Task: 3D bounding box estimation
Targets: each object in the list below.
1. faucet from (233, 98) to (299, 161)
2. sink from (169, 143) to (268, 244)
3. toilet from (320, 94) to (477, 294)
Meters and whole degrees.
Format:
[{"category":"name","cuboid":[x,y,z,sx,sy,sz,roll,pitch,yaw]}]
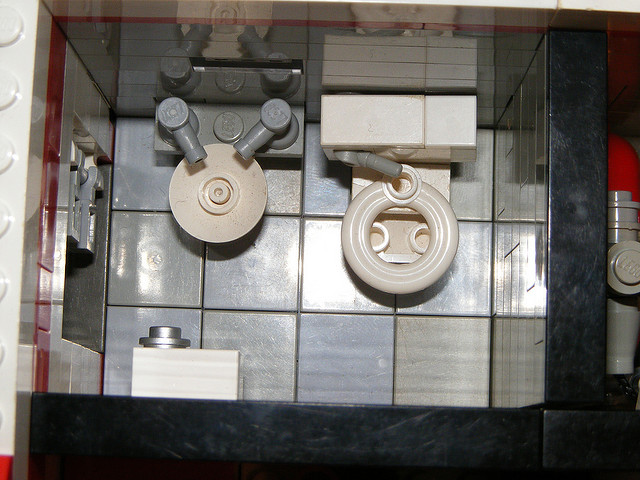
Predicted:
[{"category":"faucet","cuboid":[-0.180,-0.372,2.806,0.150,0.175,0.273,43,95,8]},{"category":"sink","cuboid":[-0.361,-0.168,2.849,0.316,0.092,0.375,4,92,-2]},{"category":"toilet","cuboid":[0.297,-0.204,2.903,0.491,0.277,0.761,0,90,5]}]
